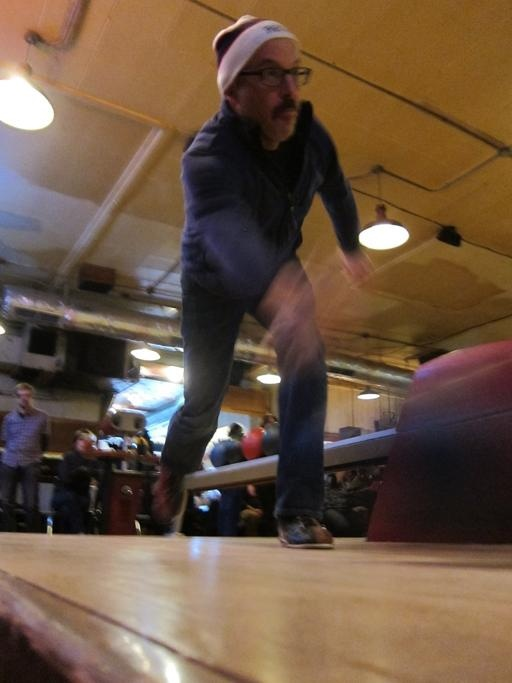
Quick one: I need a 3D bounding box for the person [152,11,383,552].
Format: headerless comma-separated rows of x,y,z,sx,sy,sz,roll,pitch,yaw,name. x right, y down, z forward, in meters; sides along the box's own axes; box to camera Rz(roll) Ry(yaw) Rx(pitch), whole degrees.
0.009,-0.294,1.553,0.570,1.639,0.632,5,-11,7,person

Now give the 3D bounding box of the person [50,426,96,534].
-1.902,1.505,5.473,0.405,1.064,0.545,11,-11,-19,person

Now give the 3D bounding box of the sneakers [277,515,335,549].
0.105,0.432,1.142,0.054,0.051,0.136,7,-20,-21,sneakers
